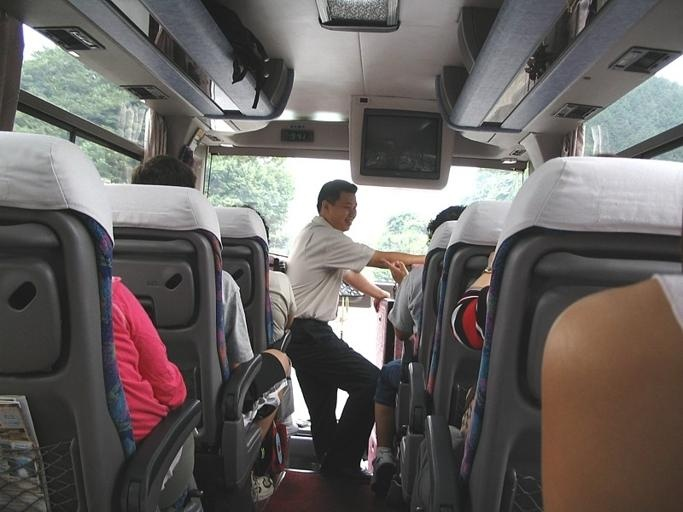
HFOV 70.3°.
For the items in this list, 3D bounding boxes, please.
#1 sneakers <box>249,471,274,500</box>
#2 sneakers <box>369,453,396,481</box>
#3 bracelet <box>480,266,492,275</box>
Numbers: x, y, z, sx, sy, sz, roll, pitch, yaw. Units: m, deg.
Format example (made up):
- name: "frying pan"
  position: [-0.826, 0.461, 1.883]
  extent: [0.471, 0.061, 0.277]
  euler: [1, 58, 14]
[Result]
- name: "sneakers"
  position: [-0.402, 1.153, 2.456]
  extent: [0.211, 0.098, 0.072]
  euler: [0, 1, -19]
- name: "sneakers"
  position: [0.229, 1.091, 2.565]
  extent: [0.140, 0.108, 0.190]
  euler: [-5, 26, 7]
- name: "bracelet"
  position: [0.521, 0.050, 1.736]
  extent: [0.026, 0.038, 0.021]
  euler: [3, 0, -22]
